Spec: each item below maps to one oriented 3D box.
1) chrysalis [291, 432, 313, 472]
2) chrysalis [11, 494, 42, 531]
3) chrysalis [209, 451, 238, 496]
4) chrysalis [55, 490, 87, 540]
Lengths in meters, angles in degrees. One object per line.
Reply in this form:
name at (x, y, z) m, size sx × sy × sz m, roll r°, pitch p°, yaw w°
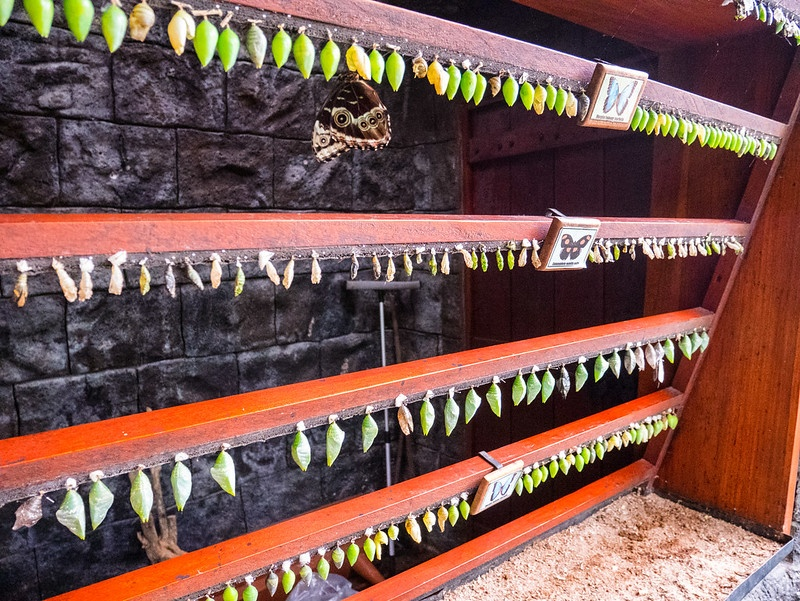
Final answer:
chrysalis at (-0.180, 0.268, 1.148) m, size 0.033 × 0.098 × 0.010 m, roll -3°, pitch 28°, yaw -4°
chrysalis at (-0.606, 0.344, 1.029) m, size 0.034 × 0.049 × 0.100 m, roll -1°, pitch -12°, yaw -30°
chrysalis at (-0.305, 0.316, 1.109) m, size 0.049 × 0.027 × 0.080 m, roll 12°, pitch 13°, yaw -26°
chrysalis at (-0.536, 0.346, 1.022) m, size 0.048 × 0.026 × 0.084 m, roll 17°, pitch 42°, yaw -50°
